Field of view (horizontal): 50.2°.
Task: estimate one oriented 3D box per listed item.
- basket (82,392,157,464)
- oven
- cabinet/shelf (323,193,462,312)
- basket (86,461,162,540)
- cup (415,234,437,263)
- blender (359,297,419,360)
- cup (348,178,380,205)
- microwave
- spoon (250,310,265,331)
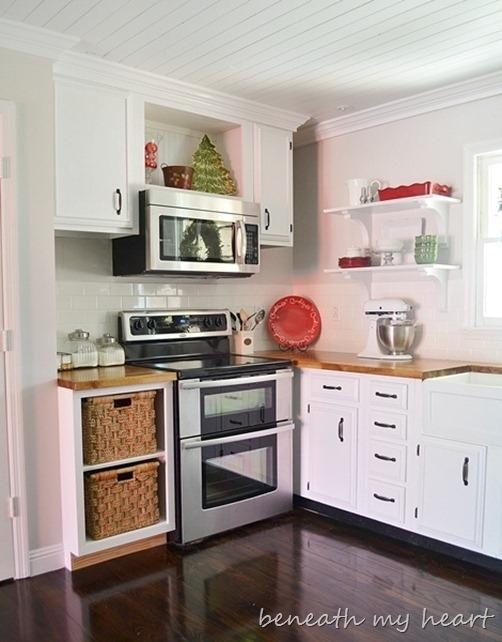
[{"bbox_3d":[-0.626,0.473,2.441,0.232,0.298,0.343,-3,-1,38],"label":"basket"},{"bbox_3d":[-0.204,0.642,2.927,0.702,0.810,0.656,-4,5,-38],"label":"oven"},{"bbox_3d":[0.815,-0.391,3.101,0.697,0.552,0.306,3,13,45],"label":"cabinet/shelf"},{"bbox_3d":[-0.627,0.820,2.467,0.214,0.271,0.361,-16,-14,40],"label":"basket"},{"bbox_3d":[0.903,-0.380,2.816,0.150,0.167,0.140,0,1,0],"label":"cup"},{"bbox_3d":[0.746,0.045,3.024,0.166,0.340,0.300,1,-3,-29],"label":"blender"},{"bbox_3d":[0.672,-0.755,3.168,0.166,0.142,0.205,-6,10,-42],"label":"cup"},{"bbox_3d":[-0.322,-0.467,2.999,0.439,0.418,0.812,3,5,40],"label":"microwave"},{"bbox_3d":[0.046,-0.013,3.597,0.098,0.149,0.212,0,-2,1],"label":"spoon"}]
